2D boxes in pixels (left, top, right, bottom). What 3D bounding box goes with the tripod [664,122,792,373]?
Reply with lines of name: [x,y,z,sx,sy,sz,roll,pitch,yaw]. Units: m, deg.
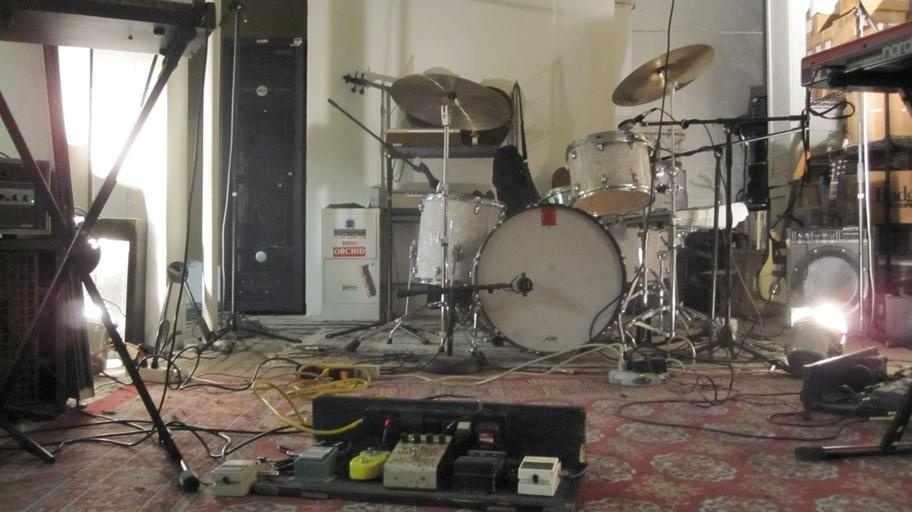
tripod: [2.336,-0.225,6.844,0.793,1.882,2.808,2,4,18]

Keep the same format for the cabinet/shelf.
cabinet/shelf: [-0.070,-0.417,6.225,1.225,1.835,1.040,0,11,-3]

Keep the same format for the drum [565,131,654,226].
drum: [1.205,-0.618,5.983,0.724,0.409,0.697,-2,-14,-1]

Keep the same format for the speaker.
speaker: [3.123,0.192,6.813,1.096,0.866,1.084,0,2,30]

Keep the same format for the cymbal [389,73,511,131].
cymbal: [-0.031,-1.189,5.904,0.661,0.132,0.629,17,29,1]

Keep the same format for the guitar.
guitar: [3.317,-0.326,7.571,0.513,1.377,0.271,1,-2,14]

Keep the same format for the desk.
desk: [2.504,0.239,7.969,0.863,0.625,0.647,5,3,-19]

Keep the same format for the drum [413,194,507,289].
drum: [0.038,-0.111,6.112,0.706,0.672,0.704,3,-2,39]

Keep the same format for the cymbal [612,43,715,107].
cymbal: [1.667,-1.483,6.322,0.539,0.420,0.727,-3,5,-43]
